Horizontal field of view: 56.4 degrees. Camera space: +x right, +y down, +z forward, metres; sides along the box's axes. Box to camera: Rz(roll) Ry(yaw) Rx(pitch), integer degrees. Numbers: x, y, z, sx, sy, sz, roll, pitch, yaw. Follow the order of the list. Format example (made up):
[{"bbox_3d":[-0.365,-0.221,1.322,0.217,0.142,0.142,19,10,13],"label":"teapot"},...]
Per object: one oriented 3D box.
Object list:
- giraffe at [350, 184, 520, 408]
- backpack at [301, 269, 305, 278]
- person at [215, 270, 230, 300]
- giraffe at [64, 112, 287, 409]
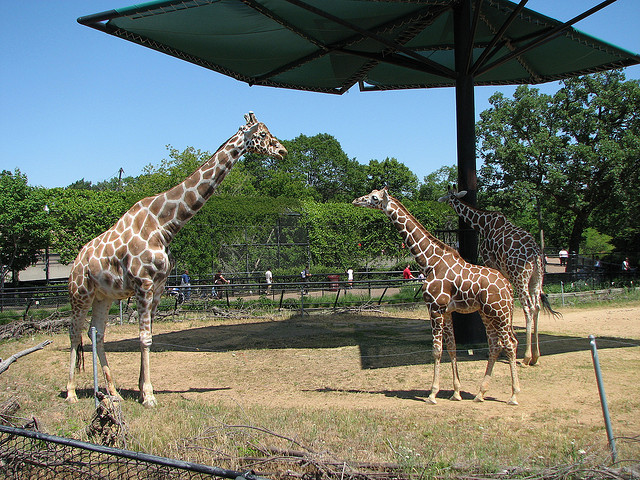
[{"bbox_3d":[2.760,1.040,12.579,2.548,4.339,2.708,-2,0,13],"label":"giraffe"},{"bbox_3d":[-0.798,1.641,28.238,0.079,0.273,0.147,-1,7,-40],"label":"backpack"},{"bbox_3d":[-4.108,1.934,24.837,0.513,1.793,1.016,-5,4,-5],"label":"person"},{"bbox_3d":[-3.708,0.496,12.496,2.948,4.387,3.658,-2,0,-45],"label":"giraffe"}]
